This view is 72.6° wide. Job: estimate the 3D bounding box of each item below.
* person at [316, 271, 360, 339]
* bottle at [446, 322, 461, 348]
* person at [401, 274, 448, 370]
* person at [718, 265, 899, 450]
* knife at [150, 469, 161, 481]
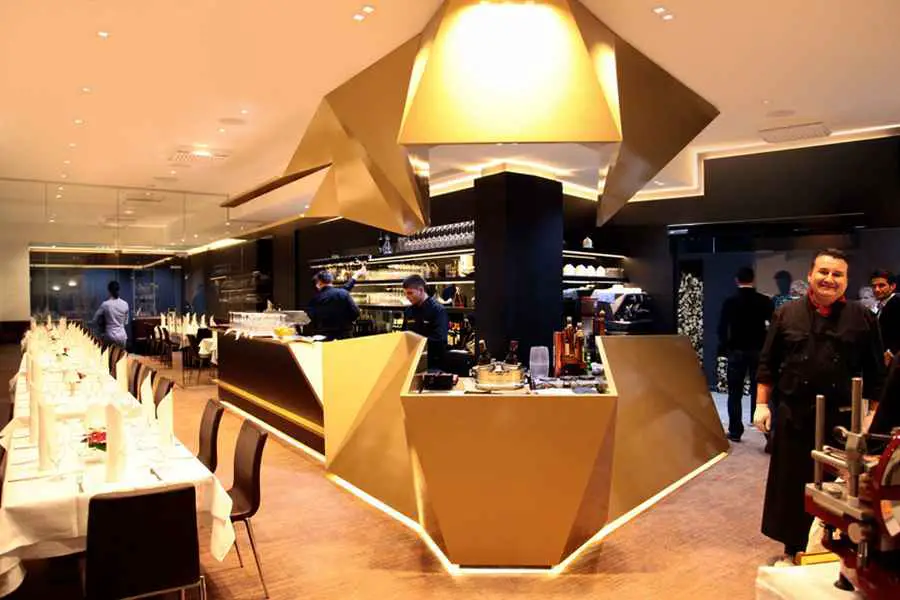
[{"bbox_3d":[-1.578,0.076,8.437,0.578,0.960,0.412,-3,10,-15],"label":"person"},{"bbox_3d":[0.053,0.524,9.343,0.177,0.347,0.197,-1,10,-1],"label":"bottle"},{"bbox_3d":[-0.270,0.286,6.725,0.459,1.050,0.984,-1,10,-3],"label":"person"},{"bbox_3d":[2.757,0.377,4.546,0.833,1.460,0.493,3,11,22],"label":"person"},{"bbox_3d":[-2.100,1.240,4.347,0.047,0.029,0.241,-12,5,-31],"label":"knife"}]
